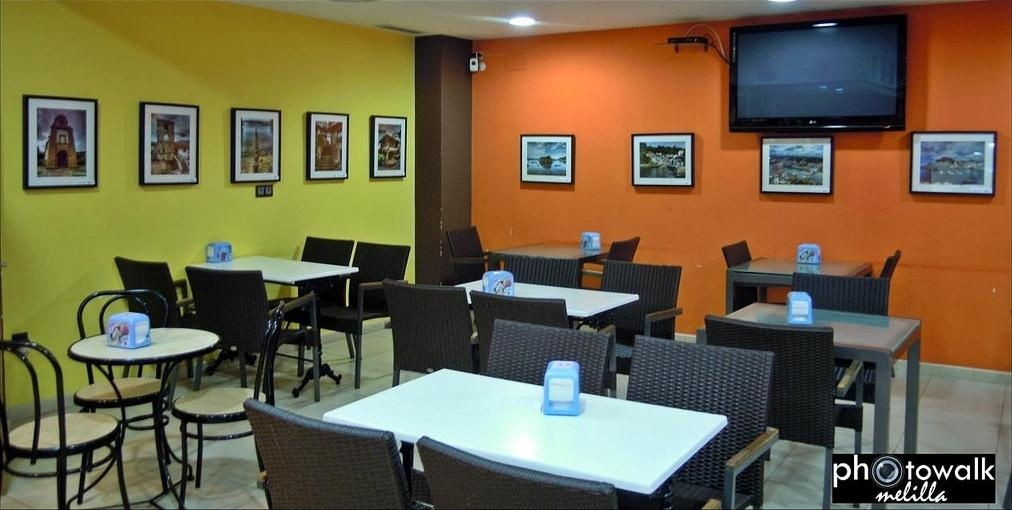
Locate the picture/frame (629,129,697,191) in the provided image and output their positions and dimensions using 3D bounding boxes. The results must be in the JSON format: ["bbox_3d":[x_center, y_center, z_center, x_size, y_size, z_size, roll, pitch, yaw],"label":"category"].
[{"bbox_3d":[1.986,-1.211,8.710,0.038,0.696,0.987,-13,14,-40],"label":"picture/frame"}]

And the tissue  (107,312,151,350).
[{"bbox_3d":[-3.078,0.589,5.520,0.334,0.237,0.314,6,7,25],"label":"tissue "}]

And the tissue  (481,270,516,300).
[{"bbox_3d":[-0.065,0.256,6.359,0.329,0.286,0.179,4,6,19],"label":"tissue "}]

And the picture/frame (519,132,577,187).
[{"bbox_3d":[0.530,-1.290,9.287,0.919,0.647,0.093,-4,4,-35],"label":"picture/frame"}]

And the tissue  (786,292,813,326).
[{"bbox_3d":[2.481,0.454,5.797,0.187,0.256,0.150,2,10,15],"label":"tissue "}]

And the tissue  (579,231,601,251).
[{"bbox_3d":[1.039,-0.176,8.762,0.281,0.203,0.266,-3,5,-34],"label":"tissue "}]

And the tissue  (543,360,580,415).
[{"bbox_3d":[0.406,0.915,4.786,0.408,0.309,0.329,0,1,11],"label":"tissue "}]

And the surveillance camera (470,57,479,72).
[{"bbox_3d":[-0.457,-2.648,9.465,0.124,0.187,0.083,-2,10,-5],"label":"surveillance camera"}]

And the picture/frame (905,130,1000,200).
[{"bbox_3d":[5.043,-1.009,7.629,0.982,0.678,0.065,1,5,11],"label":"picture/frame"}]

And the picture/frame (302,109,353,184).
[{"bbox_3d":[-2.277,-1.354,8.594,0.602,0.854,0.083,-9,13,-40],"label":"picture/frame"}]

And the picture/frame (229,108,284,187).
[{"bbox_3d":[-2.968,-1.272,8.031,0.129,0.870,0.632,8,13,40],"label":"picture/frame"}]

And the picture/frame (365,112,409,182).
[{"bbox_3d":[-1.584,-1.426,9.117,0.085,0.833,0.584,9,14,44],"label":"picture/frame"}]
